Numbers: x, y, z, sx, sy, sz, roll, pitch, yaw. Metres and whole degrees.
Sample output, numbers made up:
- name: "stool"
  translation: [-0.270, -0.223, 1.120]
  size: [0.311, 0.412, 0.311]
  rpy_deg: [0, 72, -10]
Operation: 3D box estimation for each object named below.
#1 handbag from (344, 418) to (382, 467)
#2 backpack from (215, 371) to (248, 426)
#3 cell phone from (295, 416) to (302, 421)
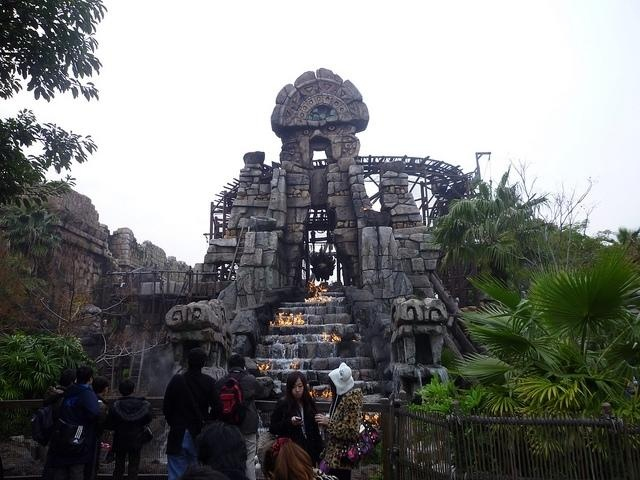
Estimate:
- name: "handbag"
  translation: [0.436, 2.230, 4.460]
  size: [0.226, 0.466, 0.465]
  rpy_deg: [-18, -32, 36]
- name: "backpack"
  translation: [-0.965, 1.752, 4.428]
  size: [0.403, 0.633, 0.368]
  rpy_deg: [-5, -32, 1]
- name: "cell phone"
  translation: [-0.251, 1.898, 4.316]
  size: [0.043, 0.046, 0.115]
  rpy_deg: [-5, -27, 15]
